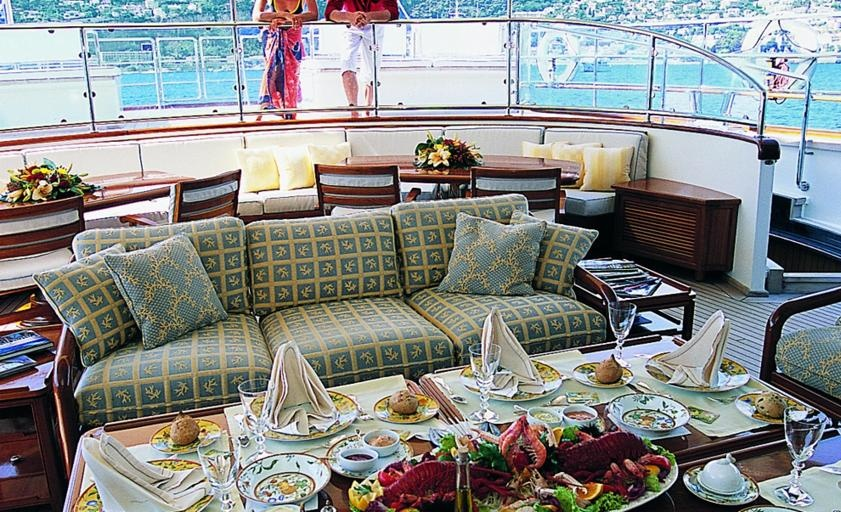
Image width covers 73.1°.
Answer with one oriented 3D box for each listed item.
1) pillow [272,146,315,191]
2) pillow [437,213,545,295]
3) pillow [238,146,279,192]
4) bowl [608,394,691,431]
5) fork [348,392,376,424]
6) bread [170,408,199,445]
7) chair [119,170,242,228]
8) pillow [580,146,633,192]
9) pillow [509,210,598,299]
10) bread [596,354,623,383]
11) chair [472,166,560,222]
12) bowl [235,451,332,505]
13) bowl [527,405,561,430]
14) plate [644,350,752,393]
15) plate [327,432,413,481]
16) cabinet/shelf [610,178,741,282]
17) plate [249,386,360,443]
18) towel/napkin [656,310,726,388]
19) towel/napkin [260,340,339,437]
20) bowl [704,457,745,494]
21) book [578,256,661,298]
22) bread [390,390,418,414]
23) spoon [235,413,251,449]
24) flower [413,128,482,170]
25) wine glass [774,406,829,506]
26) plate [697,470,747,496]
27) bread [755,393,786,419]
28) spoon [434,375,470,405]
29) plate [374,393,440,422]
[{"bbox_3d":[-1.329,-0.892,5.881,0.444,0.401,0.171,-20,0,-34],"label":"pillow"},{"bbox_3d":[0.449,0.012,3.608,0.531,0.379,0.234,9,17,6],"label":"pillow"},{"bbox_3d":[-1.688,-0.889,5.870,0.402,0.415,0.273,-9,24,-15],"label":"pillow"},{"bbox_3d":[0.943,0.652,2.321,0.290,0.052,0.261,-4,14,-7],"label":"bowl"},{"bbox_3d":[-0.246,0.643,2.406,0.046,0.035,0.258,-3,8,-14],"label":"fork"},{"bbox_3d":[-0.917,0.676,2.261,0.119,0.098,0.107,-4,12,-8],"label":"bread"},{"bbox_3d":[-1.897,-0.435,4.416,0.476,0.596,0.488,34,37,32],"label":"chair"},{"bbox_3d":[1.896,-0.872,5.747,0.578,0.460,0.203,3,-15,10],"label":"pillow"},{"bbox_3d":[0.908,-0.004,3.628,0.595,0.468,0.172,6,-7,13],"label":"pillow"},{"bbox_3d":[0.846,0.520,2.591,0.129,0.107,0.115,-8,22,-15],"label":"bread"},{"bbox_3d":[0.750,-0.470,4.483,0.482,0.548,0.467,0,28,3],"label":"chair"},{"bbox_3d":[-0.498,0.812,2.064,0.323,0.064,0.223,-7,21,-13],"label":"bowl"},{"bbox_3d":[0.512,0.660,2.318,0.095,0.035,0.080,1,10,9],"label":"bowl"},{"bbox_3d":[1.315,0.545,2.522,0.258,0.029,0.235,-10,20,-27],"label":"plate"},{"bbox_3d":[-0.206,0.765,2.155,0.197,0.033,0.181,-9,22,-29],"label":"plate"},{"bbox_3d":[2.350,-0.228,5.115,0.492,0.556,0.899,-19,28,-32],"label":"cabinet/shelf"},{"bbox_3d":[-0.442,0.621,2.311,0.297,0.043,0.272,4,14,15],"label":"plate"},{"bbox_3d":[1.213,0.430,2.586,0.317,0.289,0.304,-13,14,-22],"label":"towel/napkin"},{"bbox_3d":[-0.554,0.535,2.374,0.403,0.318,0.349,-3,10,-30],"label":"towel/napkin"},{"bbox_3d":[1.075,0.778,2.004,0.145,0.088,0.138,-3,20,1],"label":"bowl"},{"bbox_3d":[1.358,0.139,3.745,0.339,0.076,0.314,-10,27,-24],"label":"book"},{"bbox_3d":[-0.067,0.615,2.364,0.112,0.090,0.098,3,26,1],"label":"bread"},{"bbox_3d":[-0.717,0.686,2.263,0.063,0.035,0.262,-3,25,-16],"label":"spoon"},{"bbox_3d":[0.187,-0.942,5.078,0.504,0.192,0.489,-9,15,-43],"label":"flower"},{"bbox_3d":[1.332,0.679,1.980,0.133,0.311,0.242,13,28,33],"label":"wine glass"},{"bbox_3d":[1.063,0.785,1.998,0.115,0.063,0.114,-19,25,-35],"label":"plate"},{"bbox_3d":[1.448,0.627,2.351,0.116,0.046,0.101,-16,43,-6],"label":"bread"},{"bbox_3d":[0.133,0.599,2.528,0.057,0.025,0.245,-10,15,-17],"label":"spoon"},{"bbox_3d":[-0.072,0.656,2.391,0.157,0.023,0.158,12,15,42],"label":"plate"}]
